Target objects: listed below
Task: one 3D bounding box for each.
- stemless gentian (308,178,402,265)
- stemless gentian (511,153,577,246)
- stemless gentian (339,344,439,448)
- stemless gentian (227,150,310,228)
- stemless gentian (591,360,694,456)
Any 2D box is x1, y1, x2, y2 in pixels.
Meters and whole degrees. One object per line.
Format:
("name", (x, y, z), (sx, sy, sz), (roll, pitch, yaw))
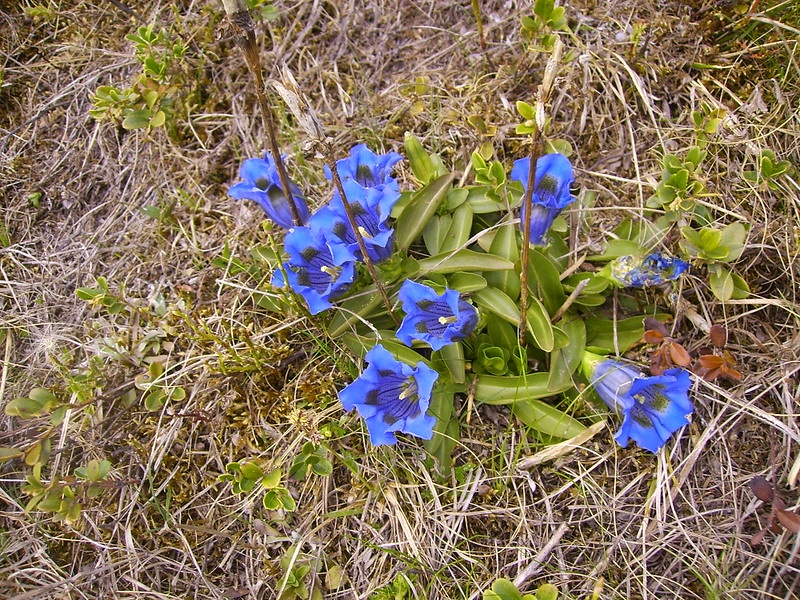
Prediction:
("stemless gentian", (-0.147, -0.427, 3.163), (0.499, 0.476, 0.242), (12, 104, 37))
("stemless gentian", (0.638, -0.442, 3.027), (0.246, 0.392, 0.286), (23, 67, 19))
("stemless gentian", (-0.038, 0.410, 2.772), (0.400, 0.174, 0.445), (7, 93, 7))
("stemless gentian", (-0.630, -0.534, 3.323), (0.249, 0.462, 0.341), (-10, 63, 21))
("stemless gentian", (1.069, 0.420, 2.910), (0.377, 0.178, 0.382), (-47, 47, 20))
